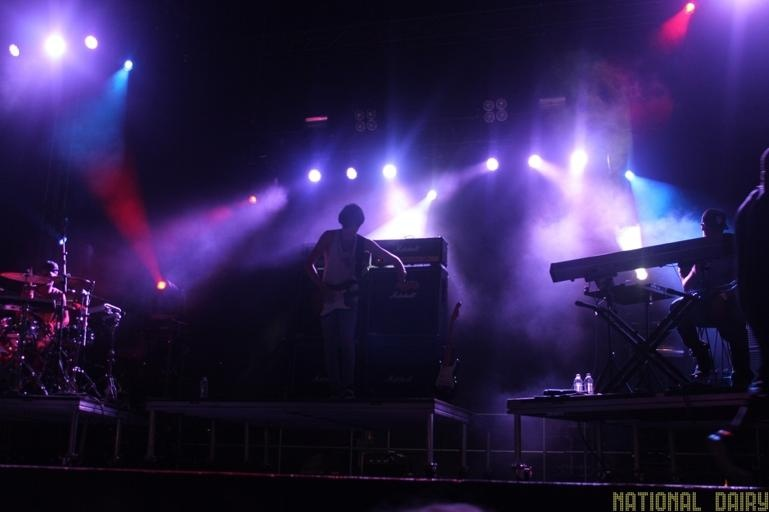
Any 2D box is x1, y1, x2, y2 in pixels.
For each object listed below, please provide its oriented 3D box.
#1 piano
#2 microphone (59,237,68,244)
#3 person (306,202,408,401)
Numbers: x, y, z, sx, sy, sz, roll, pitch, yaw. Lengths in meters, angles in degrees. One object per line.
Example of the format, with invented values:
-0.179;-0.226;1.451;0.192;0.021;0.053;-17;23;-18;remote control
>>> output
2.720;0.029;8.085;1.857;0.322;0.258;-8;-23;20;piano
-4.513;-0.228;10.609;0.169;0.050;0.121;-1;-30;19;microphone
-0.423;0.535;8.629;0.882;2.108;0.711;-19;-29;39;person
